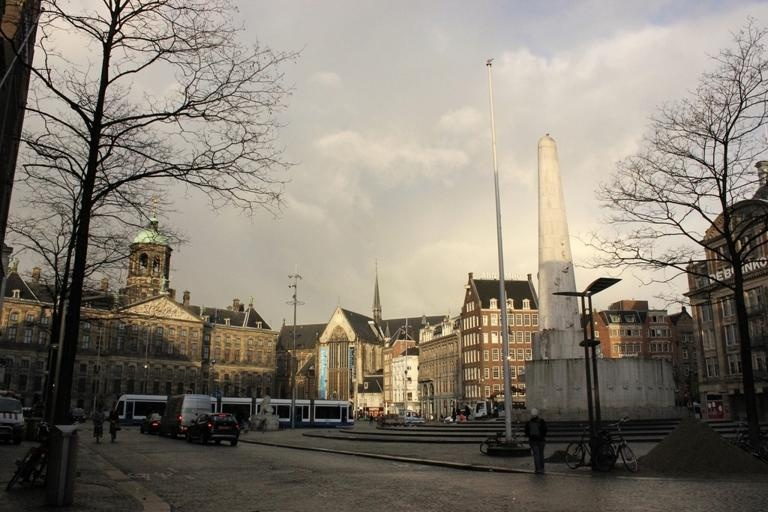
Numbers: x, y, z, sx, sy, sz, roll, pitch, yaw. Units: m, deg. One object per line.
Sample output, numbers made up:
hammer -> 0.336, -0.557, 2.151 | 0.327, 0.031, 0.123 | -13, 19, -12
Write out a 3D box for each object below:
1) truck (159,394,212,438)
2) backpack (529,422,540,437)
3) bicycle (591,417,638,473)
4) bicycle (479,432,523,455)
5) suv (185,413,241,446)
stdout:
truck -> -13.743, 11.319, 47.652 | 2.464, 2.646, 5.066 | 10, -17, -33
backpack -> 5.709, 6.567, 25.384 | 0.411, 0.741, 0.382 | -1, -3, 8
bicycle -> 8.872, 7.355, 25.583 | 1.068, 1.609, 2.545 | 3, -17, -17
bicycle -> 5.807, 8.938, 31.319 | 1.355, 0.645, 1.737 | -10, -18, 41
suv -> -10.172, 10.512, 40.696 | 1.730, 2.003, 4.340 | 11, -20, -34
